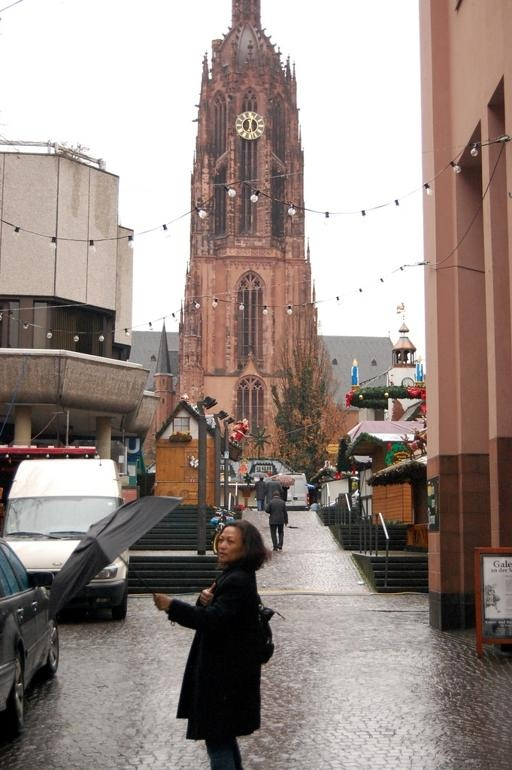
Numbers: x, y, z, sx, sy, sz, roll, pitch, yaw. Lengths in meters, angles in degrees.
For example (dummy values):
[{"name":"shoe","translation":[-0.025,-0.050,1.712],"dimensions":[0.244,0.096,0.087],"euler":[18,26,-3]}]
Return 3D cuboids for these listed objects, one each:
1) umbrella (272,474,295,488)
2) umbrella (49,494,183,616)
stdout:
[{"name":"umbrella","translation":[1.018,3.408,28.946],"dimensions":[1.145,0.554,1.224],"euler":[1,-8,1]},{"name":"umbrella","translation":[-0.632,0.589,3.255],"dimensions":[0.539,0.179,0.517],"euler":[21,-37,-24]}]
